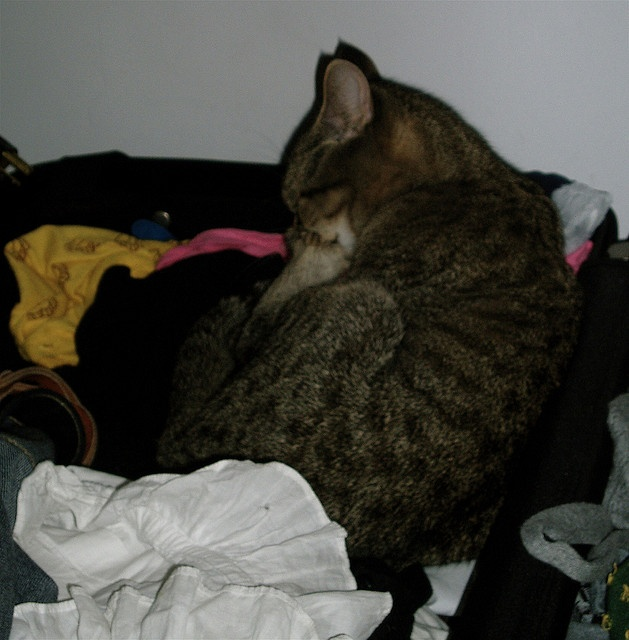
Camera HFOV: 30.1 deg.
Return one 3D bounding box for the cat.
[{"bbox_3d":[0.254,0.008,3.257,1.113,0.563,1.477,-5,59,11],"label":"cat"}]
